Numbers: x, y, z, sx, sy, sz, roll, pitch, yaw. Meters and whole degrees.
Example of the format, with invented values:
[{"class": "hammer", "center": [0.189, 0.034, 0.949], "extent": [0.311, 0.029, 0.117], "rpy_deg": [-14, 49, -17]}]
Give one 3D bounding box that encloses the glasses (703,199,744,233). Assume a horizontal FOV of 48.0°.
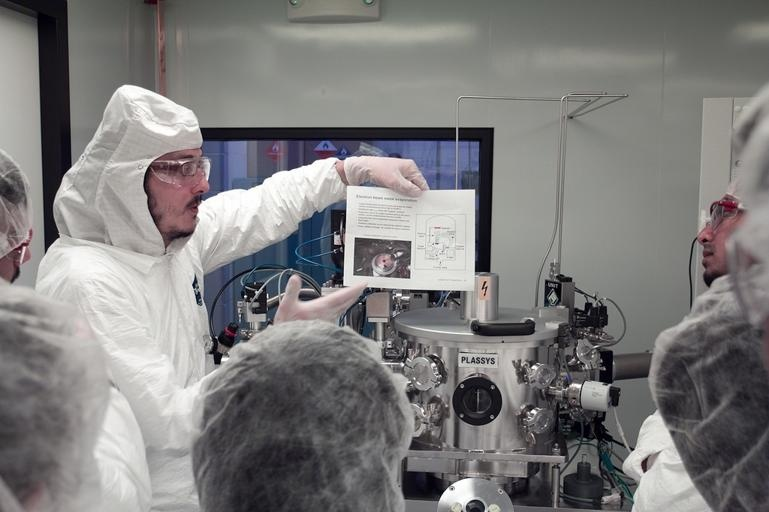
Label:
[{"class": "glasses", "center": [1.227, -0.141, 3.131], "extent": [0.166, 0.048, 0.164], "rpy_deg": [20, 8, 15]}]
